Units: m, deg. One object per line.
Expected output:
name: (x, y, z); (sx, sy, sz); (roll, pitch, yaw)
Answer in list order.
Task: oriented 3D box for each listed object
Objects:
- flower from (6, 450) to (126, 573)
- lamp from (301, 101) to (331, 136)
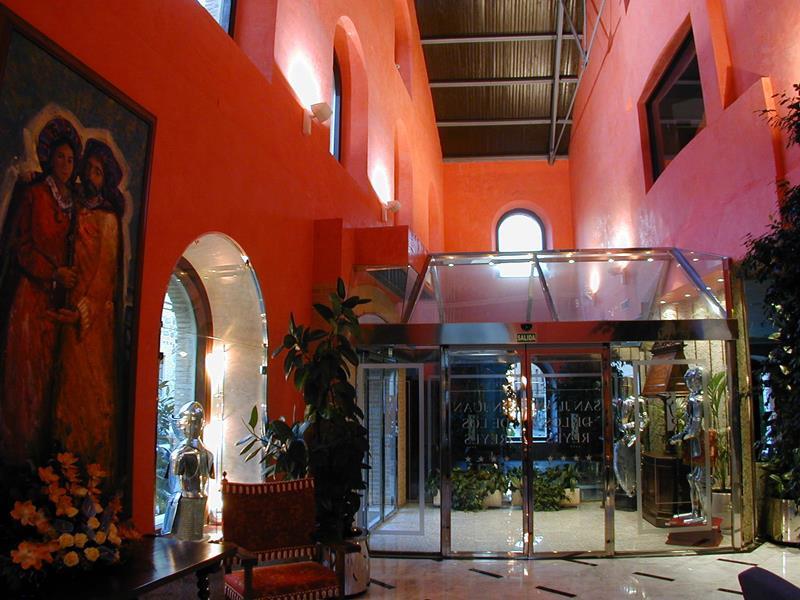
flower: (-1.868, 1.194, 3.857); (0.300, 0.652, 0.662); (-9, -14, 36)
lamp: (-0.870, -1.855, 6.940); (0.312, 0.368, 0.260); (7, 5, 44)
